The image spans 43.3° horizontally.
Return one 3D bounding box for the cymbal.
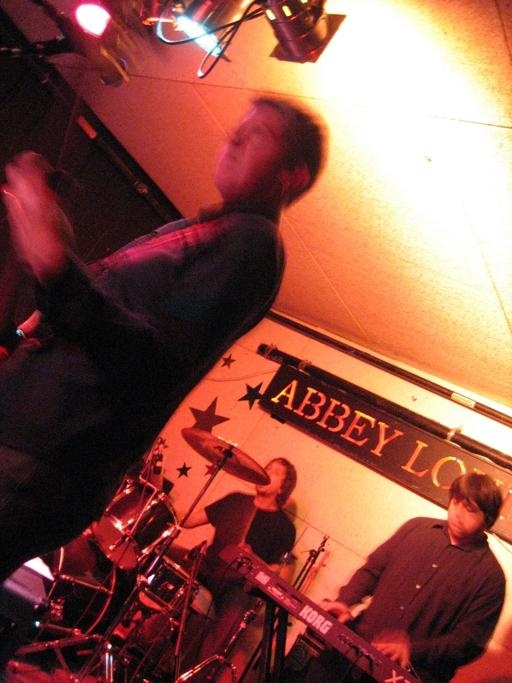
[{"bbox_3d":[-0.165,0.735,4.008,0.484,0.137,0.461,16,-26,34],"label":"cymbal"}]
